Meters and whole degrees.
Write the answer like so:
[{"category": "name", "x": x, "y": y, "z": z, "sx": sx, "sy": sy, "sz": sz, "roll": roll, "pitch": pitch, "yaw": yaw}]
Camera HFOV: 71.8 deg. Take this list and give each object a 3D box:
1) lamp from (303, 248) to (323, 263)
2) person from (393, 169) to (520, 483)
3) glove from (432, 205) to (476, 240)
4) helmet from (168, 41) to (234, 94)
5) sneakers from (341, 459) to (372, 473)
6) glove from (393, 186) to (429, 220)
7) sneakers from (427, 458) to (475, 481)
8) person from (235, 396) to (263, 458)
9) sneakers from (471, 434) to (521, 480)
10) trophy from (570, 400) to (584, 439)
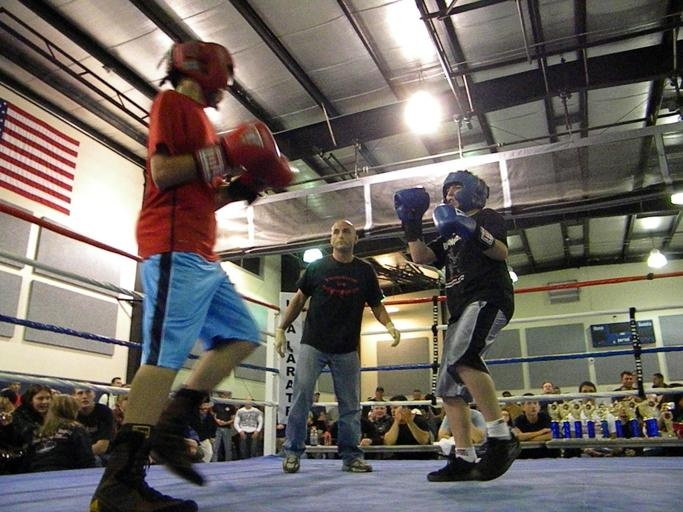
[{"category": "lamp", "x": -0.537, "y": 0.026, "z": 8.488, "sx": 0.412, "sy": 0.077, "sz": 0.329, "roll": -4, "pitch": -42, "yaw": -1}, {"category": "person", "x": 0.613, "y": 0.247, "z": 2.406, "sx": 0.539, "sy": 1.630, "sz": 0.587, "roll": 9, "pitch": -23, "yaw": -24}, {"category": "glove", "x": 0.530, "y": -0.165, "z": 2.294, "sx": 0.156, "sy": 0.168, "sz": 0.175, "roll": 9, "pitch": -20, "yaw": -26}, {"category": "helmet", "x": -0.528, "y": -0.730, "z": 1.870, "sx": 0.282, "sy": 0.143, "sz": 0.192, "roll": -4, "pitch": -6, "yaw": 3}, {"category": "sneakers", "x": 0.093, "y": 1.277, "z": 2.898, "sx": 0.193, "sy": 0.072, "sz": 0.067, "roll": -7, "pitch": -28, "yaw": 24}, {"category": "glove", "x": 0.378, "y": -0.304, "z": 2.772, "sx": 0.252, "sy": 0.183, "sz": 0.164, "roll": 4, "pitch": -21, "yaw": 21}, {"category": "sneakers", "x": 0.511, "y": 0.969, "z": 2.181, "sx": 0.272, "sy": 0.096, "sz": 0.083, "roll": -1, "pitch": -18, "yaw": 12}, {"category": "person", "x": -1.545, "y": 2.905, "z": 7.804, "sx": 0.538, "sy": 1.127, "sz": 0.360, "roll": 2, "pitch": -25, "yaw": -16}, {"category": "sneakers", "x": 0.702, "y": 0.903, "z": 2.138, "sx": 0.206, "sy": 0.201, "sz": 0.125, "roll": -6, "pitch": -20, "yaw": 16}, {"category": "trophy", "x": 2.391, "y": 1.675, "z": 4.770, "sx": 0.127, "sy": 0.322, "sz": 0.116, "roll": 35, "pitch": -39, "yaw": -31}]
